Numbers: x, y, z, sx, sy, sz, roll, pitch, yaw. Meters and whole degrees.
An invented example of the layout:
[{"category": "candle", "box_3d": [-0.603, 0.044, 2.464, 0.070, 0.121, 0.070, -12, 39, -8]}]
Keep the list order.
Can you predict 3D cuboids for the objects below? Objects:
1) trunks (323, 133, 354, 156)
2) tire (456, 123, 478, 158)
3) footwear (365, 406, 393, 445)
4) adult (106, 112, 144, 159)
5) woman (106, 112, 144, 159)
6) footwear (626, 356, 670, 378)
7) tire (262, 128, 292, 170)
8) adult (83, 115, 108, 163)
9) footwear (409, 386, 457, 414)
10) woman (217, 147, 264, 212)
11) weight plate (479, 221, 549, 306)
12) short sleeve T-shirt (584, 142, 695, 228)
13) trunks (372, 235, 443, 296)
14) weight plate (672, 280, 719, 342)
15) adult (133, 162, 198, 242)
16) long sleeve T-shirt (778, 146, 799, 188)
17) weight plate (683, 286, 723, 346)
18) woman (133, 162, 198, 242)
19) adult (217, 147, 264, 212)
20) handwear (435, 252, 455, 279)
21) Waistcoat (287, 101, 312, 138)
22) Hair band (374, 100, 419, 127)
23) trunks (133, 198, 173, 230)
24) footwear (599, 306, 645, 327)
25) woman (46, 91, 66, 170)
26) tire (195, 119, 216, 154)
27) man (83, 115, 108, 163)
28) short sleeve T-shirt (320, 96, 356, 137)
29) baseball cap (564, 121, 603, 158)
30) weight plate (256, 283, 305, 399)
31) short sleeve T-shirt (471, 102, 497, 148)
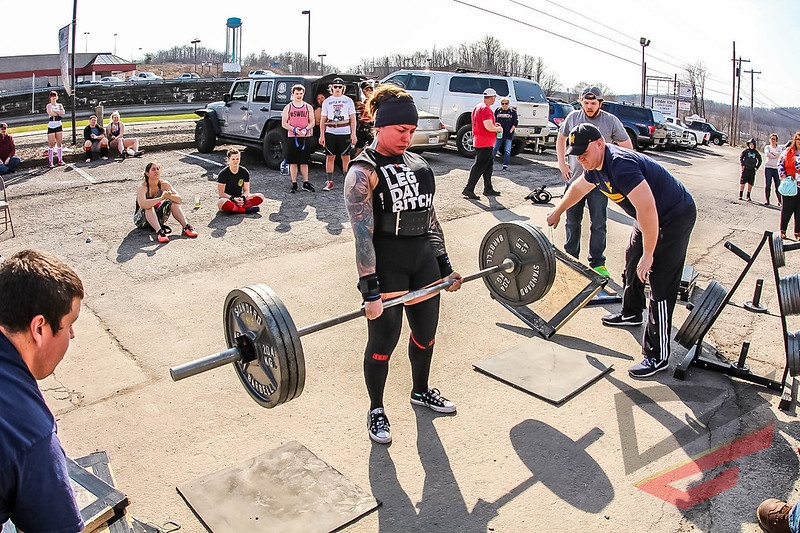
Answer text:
[{"category": "trunks", "box_3d": [-1.246, -2.468, 11.292, 0.671, 0.557, 0.354, -4, 48, -9]}, {"category": "tire", "box_3d": [2.048, -3.423, 15.308, 0.313, 0.848, 0.872, -8, -1, -38]}, {"category": "footwear", "box_3d": [-0.156, 1.307, 4.508, 0.130, 0.132, 0.341, -3, 6, -10]}, {"category": "adult", "box_3d": [-6.832, -3.198, 13.654, 0.723, 1.069, 0.774, -10, 20, -29]}, {"category": "woman", "box_3d": [-6.830, -3.202, 13.668, 0.738, 1.069, 0.823, -10, 20, -29]}, {"category": "footwear", "box_3d": [2.386, 0.966, 5.429, 0.462, 0.187, 0.159, -7, 27, -7]}, {"category": "tire", "box_3d": [-2.749, -2.621, 12.604, 0.862, 0.833, 0.303, 6, 11, 35]}, {"category": "adult", "box_3d": [-7.466, -3.117, 13.533, 0.570, 1.056, 0.576, -6, 18, -18]}, {"category": "footwear", "box_3d": [0.304, 1.189, 4.871, 0.440, 0.169, 0.162, 9, 30, 19]}, {"category": "woman", "box_3d": [-2.845, -1.473, 9.613, 0.796, 1.034, 0.762, -15, 32, -44]}, {"category": "weight plate", "box_3d": [1.136, -0.011, 5.465, 0.225, 0.741, 0.734, -17, 67, -37]}, {"category": "short sleeve T-shirt", "box_3d": [2.231, -0.748, 5.168, 0.958, 0.726, 0.630, 4, 18, 14]}, {"category": "trunks", "box_3d": [0.043, -0.054, 4.514, 0.732, 0.495, 0.388, -10, 11, -32]}, {"category": "weight plate", "box_3d": [2.881, 0.471, 5.350, 0.157, 0.502, 0.522, 32, 32, 17]}, {"category": "adult", "box_3d": [-3.720, -1.040, 8.602, 1.325, 1.011, 0.633, 18, 21, 42]}, {"category": "long sleeve T-shirt", "box_3d": [7.313, -1.840, 10.452, 0.543, 0.724, 0.267, 1, -1, 9]}, {"category": "weight plate", "box_3d": [3.113, 0.529, 5.662, 0.149, 0.481, 0.495, 32, 22, 17]}, {"category": "woman", "box_3d": [-3.372, -0.966, 8.549, 0.742, 1.116, 1.467, -16, 25, -41]}, {"category": "adult", "box_3d": [-2.778, -1.477, 9.651, 0.782, 1.038, 0.749, -1, 24, -21]}, {"category": "handwear", "box_3d": [0.386, -0.007, 4.646, 0.072, 0.193, 0.147, -23, -5, 36]}, {"category": "Waistcoat", "box_3d": [-1.959, -2.846, 10.800, 0.461, 0.638, 0.370, -3, 18, -9]}, {"category": "Hair band", "box_3d": [-0.034, -1.145, 4.173, 0.234, 0.166, 0.231, -2, 13, 16]}, {"category": "trunks", "box_3d": [-3.857, -0.769, 8.633, 0.452, 0.589, 0.496, -11, 53, -43]}, {"category": "footwear", "box_3d": [2.550, 0.582, 6.410, 0.512, 0.222, 0.185, 1, 1, 6]}, {"category": "woman", "box_3d": [-8.340, -3.320, 13.348, 0.487, 1.679, 2.277, -10, 20, -29]}, {"category": "tire", "box_3d": [-5.066, -3.351, 14.363, 0.325, 0.814, 0.722, -16, 23, -41]}, {"category": "man", "box_3d": [-7.466, -3.112, 13.532, 0.565, 1.065, 0.617, -8, 19, -23]}, {"category": "short sleeve T-shirt", "box_3d": [-1.223, -2.920, 10.926, 0.847, 0.913, 0.491, -1, 7, -8]}, {"category": "baseball cap", "box_3d": [1.701, -1.150, 5.080, 0.273, 0.283, 0.229, 5, 18, 16]}, {"category": "weight plate", "box_3d": [-0.817, 0.589, 3.932, 0.204, 0.826, 0.340, -7, 19, -20]}, {"category": "short sleeve T-shirt", "box_3d": [1.653, -2.721, 10.786, 0.423, 0.843, 0.529, 2, 17, 6]}]
